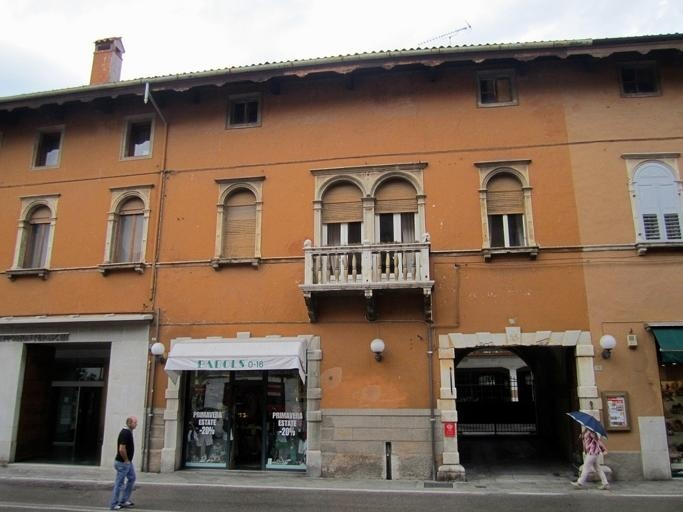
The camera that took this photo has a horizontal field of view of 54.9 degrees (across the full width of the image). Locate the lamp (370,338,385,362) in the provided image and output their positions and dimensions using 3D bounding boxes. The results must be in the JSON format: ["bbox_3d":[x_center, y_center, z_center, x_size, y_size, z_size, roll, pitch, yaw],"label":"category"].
[{"bbox_3d":[1.188,3.096,21.492,0.506,0.768,0.480,-1,-6,2],"label":"lamp"}]

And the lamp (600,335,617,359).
[{"bbox_3d":[8.455,2.883,20.784,0.530,0.742,0.417,-1,-6,8],"label":"lamp"}]

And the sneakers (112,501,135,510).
[{"bbox_3d":[-5.790,6.655,17.461,0.506,0.222,0.188,8,-20,-5],"label":"sneakers"}]

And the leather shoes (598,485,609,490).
[{"bbox_3d":[7.668,6.804,19.241,0.308,0.222,0.120,-5,-19,19],"label":"leather shoes"}]

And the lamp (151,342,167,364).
[{"bbox_3d":[-6.346,3.339,22.639,0.516,0.698,0.641,1,-6,-9],"label":"lamp"}]

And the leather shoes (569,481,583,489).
[{"bbox_3d":[7.003,6.880,19.638,0.114,0.222,0.326,18,-13,-20],"label":"leather shoes"}]

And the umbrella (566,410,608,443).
[{"bbox_3d":[7.281,5.113,19.453,0.916,0.309,0.926,27,-10,18],"label":"umbrella"}]
